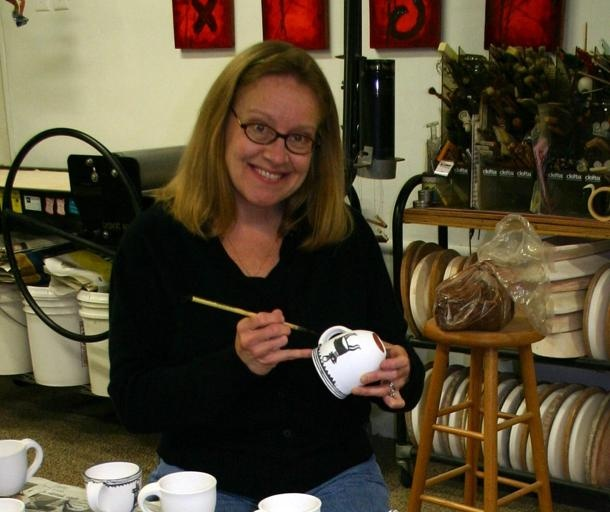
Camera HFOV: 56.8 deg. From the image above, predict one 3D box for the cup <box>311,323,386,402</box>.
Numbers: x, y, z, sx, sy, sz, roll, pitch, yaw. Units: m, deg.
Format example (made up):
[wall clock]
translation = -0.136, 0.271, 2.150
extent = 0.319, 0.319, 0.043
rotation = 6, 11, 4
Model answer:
[cup]
translation = 0.076, 0.191, 1.135
extent = 0.108, 0.106, 0.158
rotation = -28, 37, -3

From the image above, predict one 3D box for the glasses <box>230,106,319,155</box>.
[glasses]
translation = -0.071, -0.291, 1.323
extent = 0.198, 0.117, 0.088
rotation = -3, 9, -2
